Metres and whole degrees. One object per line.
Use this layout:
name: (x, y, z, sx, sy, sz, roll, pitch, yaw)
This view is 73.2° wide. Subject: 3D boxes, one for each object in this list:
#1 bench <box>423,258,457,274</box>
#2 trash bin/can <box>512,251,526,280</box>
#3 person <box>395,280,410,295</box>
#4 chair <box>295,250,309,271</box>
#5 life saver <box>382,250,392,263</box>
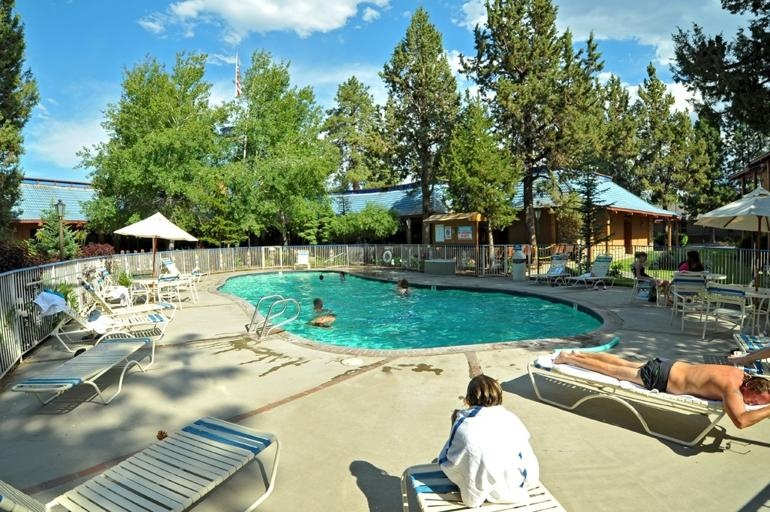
bench: (2.909, 0.583, 28.438, 1.992, 0.787, 0.669, 3, 10, 43)
trash bin/can: (6.287, 0.431, 24.535, 0.593, 1.375, 0.405, -2, 8, 11)
person: (0.756, 1.339, 22.485, 0.568, 0.729, 1.091, -4, 7, 0)
chair: (-5.300, 0.296, 33.094, 1.113, 1.490, 1.082, -1, 2, -25)
life saver: (0.126, 0.055, 33.285, 0.242, 0.713, 0.712, 1, 3, -34)
